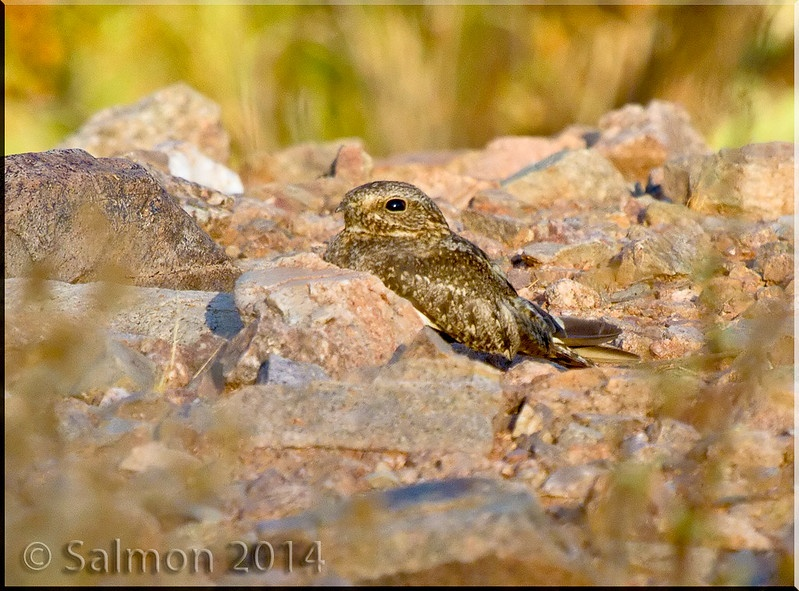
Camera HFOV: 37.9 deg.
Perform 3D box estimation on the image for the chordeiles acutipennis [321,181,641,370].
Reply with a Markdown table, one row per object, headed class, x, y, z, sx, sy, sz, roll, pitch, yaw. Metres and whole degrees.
| class | x | y | z | sx | sy | sz | roll | pitch | yaw |
| --- | --- | --- | --- | --- | --- | --- | --- | --- | --- |
| chordeiles acutipennis | 0.277 | -0.135 | 6.533 | 2.313 | 0.783 | 1.028 | 10 | 75 | 2 |
